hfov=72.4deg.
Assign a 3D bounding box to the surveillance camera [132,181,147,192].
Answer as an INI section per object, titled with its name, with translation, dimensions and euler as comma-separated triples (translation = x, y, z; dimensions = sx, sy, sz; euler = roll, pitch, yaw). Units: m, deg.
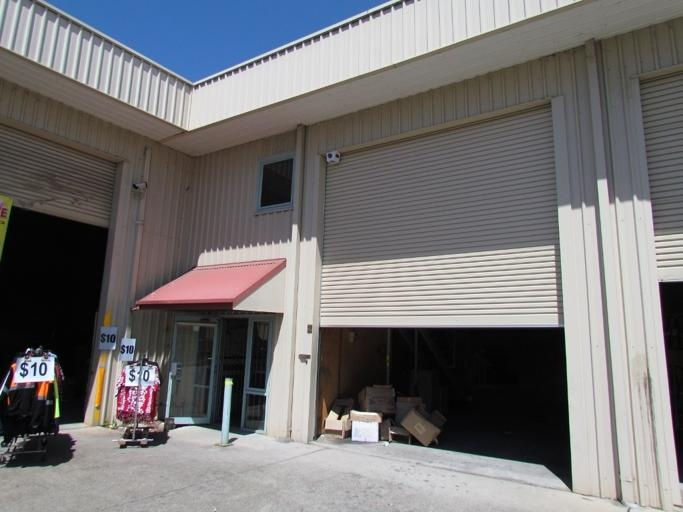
[surveillance camera]
translation = -4.877, -1.684, 11.325
dimensions = 0.352, 0.252, 0.276
euler = 6, -7, -28
